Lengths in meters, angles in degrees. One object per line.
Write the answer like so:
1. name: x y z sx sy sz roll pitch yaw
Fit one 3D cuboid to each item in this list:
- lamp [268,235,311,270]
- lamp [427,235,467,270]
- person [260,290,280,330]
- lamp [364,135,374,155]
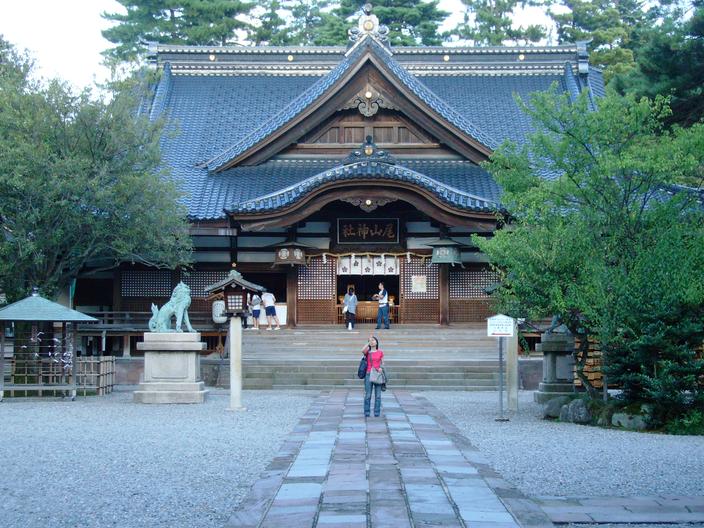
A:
1. lamp: -2.011 -0.328 23.685 0.942 0.923 0.901 1 -3 -19
2. lamp: 3.056 -0.411 23.740 0.964 0.930 0.885 -3 -4 17
3. person: -2.659 1.444 23.264 0.615 1.310 1.404 0 11 -7
4. lamp: 0.528 -3.860 23.577 0.366 0.635 0.561 2 11 2
